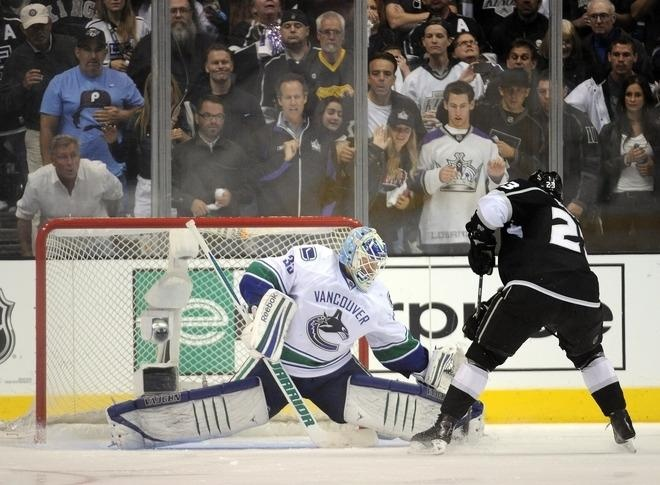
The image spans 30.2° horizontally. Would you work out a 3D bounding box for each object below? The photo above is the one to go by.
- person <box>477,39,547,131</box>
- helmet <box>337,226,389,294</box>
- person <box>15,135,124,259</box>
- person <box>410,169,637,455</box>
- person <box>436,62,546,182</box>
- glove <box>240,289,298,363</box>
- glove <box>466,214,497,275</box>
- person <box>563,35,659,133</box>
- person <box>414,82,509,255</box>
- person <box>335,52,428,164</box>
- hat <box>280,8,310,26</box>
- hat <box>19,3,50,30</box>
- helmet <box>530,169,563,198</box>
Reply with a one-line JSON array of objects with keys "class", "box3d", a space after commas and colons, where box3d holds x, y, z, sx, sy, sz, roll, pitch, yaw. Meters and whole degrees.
[{"class": "person", "box3d": [1.512, -1.321, 10.212, 0.601, 0.685, 0.297, 22, 7, -1]}, {"class": "helmet", "box3d": [0.231, 0.079, 8.553, 0.382, 0.395, 0.302, 24, 13, 31]}, {"class": "person", "box3d": [-2.092, -0.370, 9.756, 0.910, 1.492, 0.514, -4, -8, -11]}, {"class": "person", "box3d": [1.533, 0.442, 8.924, 1.608, 2.327, 1.117, 14, -25, -15]}, {"class": "person", "box3d": [1.479, -0.937, 9.897, 0.758, 0.939, 0.372, 20, 2, -2]}, {"class": "glove", "box3d": [-0.407, 0.573, 8.285, 0.354, 0.474, 0.159, 30, 3, -8]}, {"class": "glove", "box3d": [1.076, 0.036, 8.676, 0.164, 0.399, 0.251, 1, 32, -15]}, {"class": "person", "box3d": [2.386, -1.256, 10.135, 1.067, 0.845, 0.296, 1, 7, -5]}, {"class": "person", "box3d": [1.125, -0.446, 10.159, 0.792, 1.734, 0.657, -1, 26, 5]}, {"class": "person", "box3d": [0.394, -1.103, 10.019, 0.915, 1.290, 0.505, 0, 7, -6]}, {"class": "hat", "box3d": [-0.268, -1.861, 10.028, 0.165, 0.096, 0.159, 10, 11, -10]}, {"class": "hat", "box3d": [-2.406, -1.856, 9.963, 0.187, 0.135, 0.239, -13, 17, 0]}, {"class": "helmet", "box3d": [1.562, -0.451, 8.822, 0.235, 0.203, 0.174, 2, 28, -32]}]
